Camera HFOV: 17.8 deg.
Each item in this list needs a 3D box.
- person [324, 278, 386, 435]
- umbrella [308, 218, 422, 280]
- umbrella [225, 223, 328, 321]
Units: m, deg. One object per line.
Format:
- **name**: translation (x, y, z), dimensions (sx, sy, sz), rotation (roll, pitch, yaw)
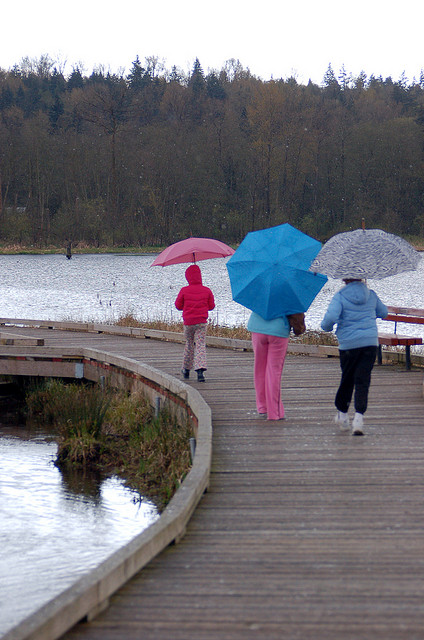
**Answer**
- **person**: translation (1.075, 0.284, 9.812), dimensions (0.448, 1.155, 0.278), rotation (-7, 6, 7)
- **umbrella**: translation (1.114, -0.431, 9.690), dimensions (0.814, 0.378, 0.712), rotation (-12, 7, -6)
- **umbrella**: translation (0.488, -0.353, 10.285), dimensions (0.715, 0.635, 0.440), rotation (-10, 7, 4)
